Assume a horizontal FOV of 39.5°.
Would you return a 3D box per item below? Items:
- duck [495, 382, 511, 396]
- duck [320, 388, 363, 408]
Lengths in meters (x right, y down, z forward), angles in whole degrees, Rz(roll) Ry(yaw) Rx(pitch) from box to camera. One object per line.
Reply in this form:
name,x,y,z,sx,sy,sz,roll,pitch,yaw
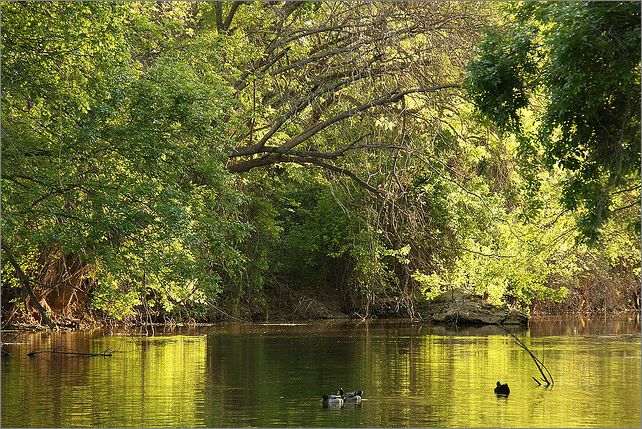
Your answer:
duck,4.496,4.326,22.022,0.237,0.287,0.424,2,-4,2
duck,0.501,4.387,21.184,0.755,0.474,0.414,2,-12,-2
